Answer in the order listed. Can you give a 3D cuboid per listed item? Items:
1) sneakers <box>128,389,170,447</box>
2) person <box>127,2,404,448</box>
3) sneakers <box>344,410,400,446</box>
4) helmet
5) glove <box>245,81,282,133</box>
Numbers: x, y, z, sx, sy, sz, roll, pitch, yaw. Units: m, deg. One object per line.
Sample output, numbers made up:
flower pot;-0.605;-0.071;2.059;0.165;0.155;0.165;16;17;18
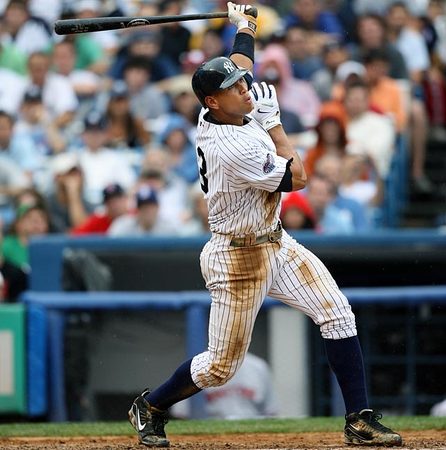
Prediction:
sneakers;-0.353;0.892;5.325;0.114;0.144;0.312;22;25;-55
person;0.143;0.127;5.136;1.170;1.783;0.374;-3;5;-5
sneakers;0.655;0.932;5.190;0.312;0.165;0.116;-1;-6;10
helmet;0.002;-0.650;5.072;0.267;0.220;0.211;-3;4;-12
glove;0.172;-0.548;5.172;0.150;0.212;0.056;-5;2;-16
